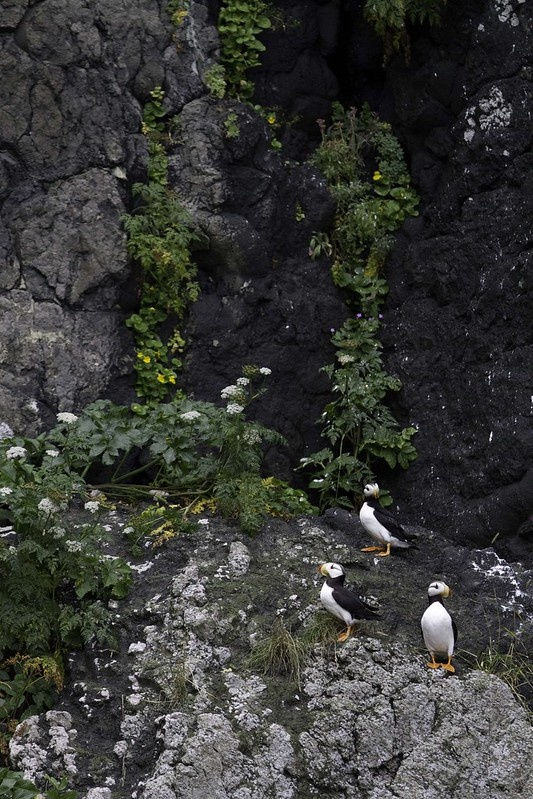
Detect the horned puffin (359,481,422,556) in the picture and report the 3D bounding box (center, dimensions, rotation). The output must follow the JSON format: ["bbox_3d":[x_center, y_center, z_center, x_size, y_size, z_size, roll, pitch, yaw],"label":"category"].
[{"bbox_3d":[0.972,0.819,7.156,0.543,0.523,0.341,11,-18,-18],"label":"horned puffin"}]

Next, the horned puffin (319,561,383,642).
[{"bbox_3d":[0.627,1.188,6.406,0.556,0.596,0.300,-1,-20,7],"label":"horned puffin"}]

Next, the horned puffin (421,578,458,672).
[{"bbox_3d":[1.064,1.387,6.387,0.238,0.493,0.343,7,7,11],"label":"horned puffin"}]
